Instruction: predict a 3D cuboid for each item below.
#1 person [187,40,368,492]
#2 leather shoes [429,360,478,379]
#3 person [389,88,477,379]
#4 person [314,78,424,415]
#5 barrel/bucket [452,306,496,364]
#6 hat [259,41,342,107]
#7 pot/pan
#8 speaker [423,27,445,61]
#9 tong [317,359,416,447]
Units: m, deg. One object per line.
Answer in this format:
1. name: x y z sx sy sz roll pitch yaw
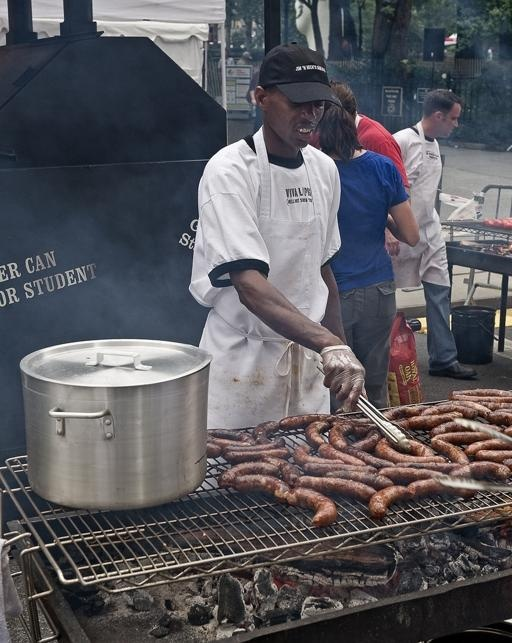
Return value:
1. person: 0.132 -0.256 3.151 0.612 1.668 0.592 -2 5 -24
2. leather shoes: 1.790 0.416 7.303 0.441 0.171 0.155 -1 10 7
3. person: 1.538 -0.769 7.295 0.812 2.638 0.795 9 21 24
4. person: 0.581 -0.467 4.991 0.735 1.874 0.807 1 16 -11
5. barrel/bucket: 2.063 0.095 7.826 0.408 0.527 0.435 1 15 0
6. hat: 0.156 -0.919 2.974 0.211 0.142 0.305 -11 27 -33
7. pot/pan: -0.342 0.231 2.168 0.444 0.470 0.625 -1 13 3
8. speaker: 1.984 -3.081 8.939 0.259 0.342 0.141 0 10 -5
9. tong: 0.332 0.312 2.782 0.127 0.110 0.533 14 18 -43
